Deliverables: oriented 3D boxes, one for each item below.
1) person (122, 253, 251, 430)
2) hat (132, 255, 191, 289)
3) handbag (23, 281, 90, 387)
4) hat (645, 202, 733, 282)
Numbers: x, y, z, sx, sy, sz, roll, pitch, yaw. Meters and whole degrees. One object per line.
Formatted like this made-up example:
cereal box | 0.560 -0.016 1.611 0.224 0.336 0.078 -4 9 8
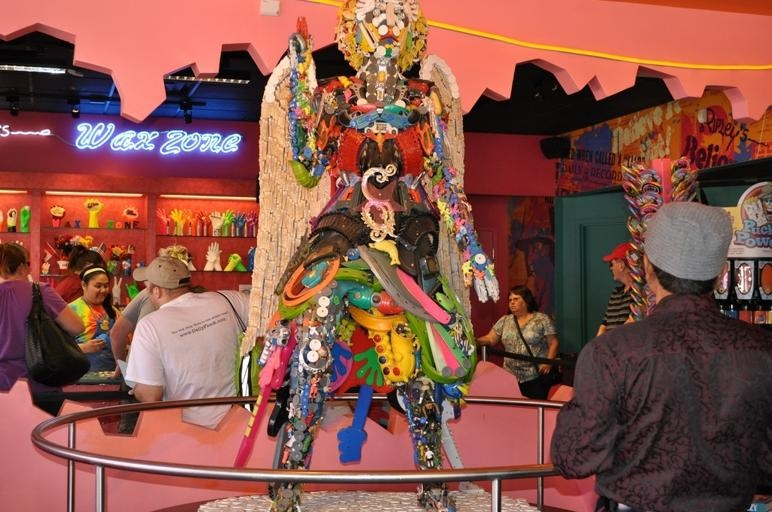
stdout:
person | -1.123 0.486 4.228 0.666 0.995 0.623 0 -4 -10
hat | -1.405 0.101 4.553 0.289 0.108 0.197 11 12 41
handbag | -2.003 0.480 4.567 0.344 0.628 0.177 1 -4 -15
hat | 1.106 -0.078 2.833 0.311 0.229 0.296 26 30 35
